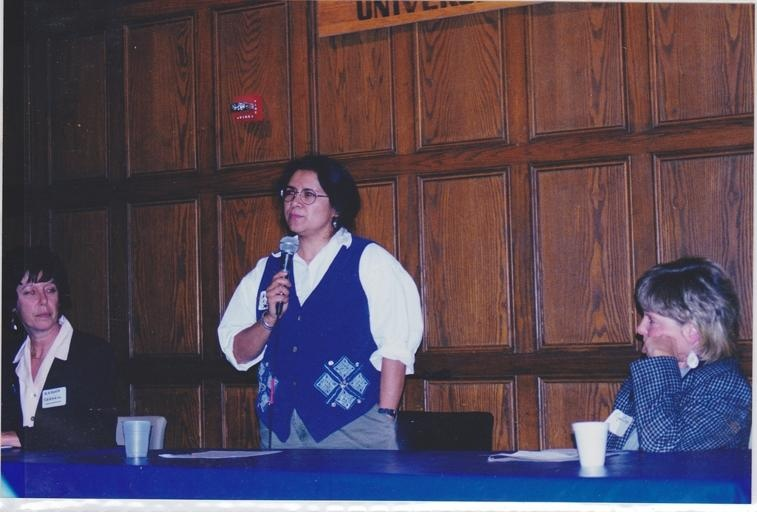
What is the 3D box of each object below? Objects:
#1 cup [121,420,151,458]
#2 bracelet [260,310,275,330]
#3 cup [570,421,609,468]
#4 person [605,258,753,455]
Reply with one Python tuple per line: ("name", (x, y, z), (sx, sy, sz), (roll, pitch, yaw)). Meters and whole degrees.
("cup", (-1.067, 0.820, 4.084), (0.149, 0.159, 0.145), (0, -9, 0))
("bracelet", (-0.629, 0.368, 5.244), (0.078, 0.099, 0.097), (-4, -18, 0))
("cup", (0.878, 0.772, 3.768), (0.149, 0.179, 0.109), (0, -9, -10))
("person", (1.441, 0.430, 4.443), (0.627, 0.975, 0.989), (-6, -10, 29))
